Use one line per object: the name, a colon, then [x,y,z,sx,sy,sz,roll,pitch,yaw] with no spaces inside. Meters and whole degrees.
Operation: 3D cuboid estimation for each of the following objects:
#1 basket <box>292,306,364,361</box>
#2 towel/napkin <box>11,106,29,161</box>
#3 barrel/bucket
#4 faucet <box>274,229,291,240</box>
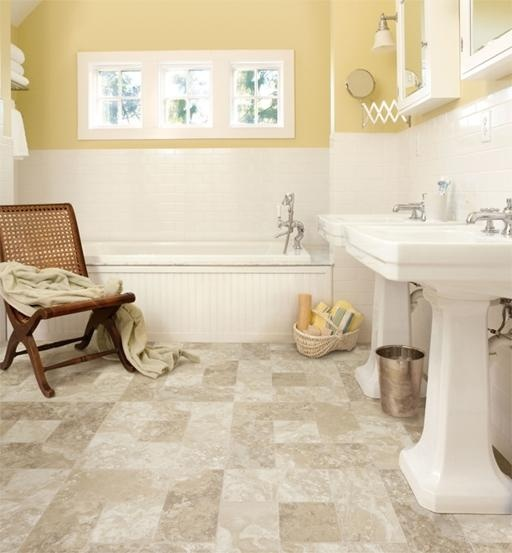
basket: [0.442,0.340,2.905,0.353,0.208,0.289,-5,7,-30]
towel/napkin: [-1.720,-1.029,3.362,0.095,0.349,0.243,-4,9,-27]
barrel/bucket: [0.584,0.445,2.090,0.259,0.326,0.268,1,1,0]
faucet: [0.213,-0.336,3.737,0.061,0.083,0.236,0,-2,36]
